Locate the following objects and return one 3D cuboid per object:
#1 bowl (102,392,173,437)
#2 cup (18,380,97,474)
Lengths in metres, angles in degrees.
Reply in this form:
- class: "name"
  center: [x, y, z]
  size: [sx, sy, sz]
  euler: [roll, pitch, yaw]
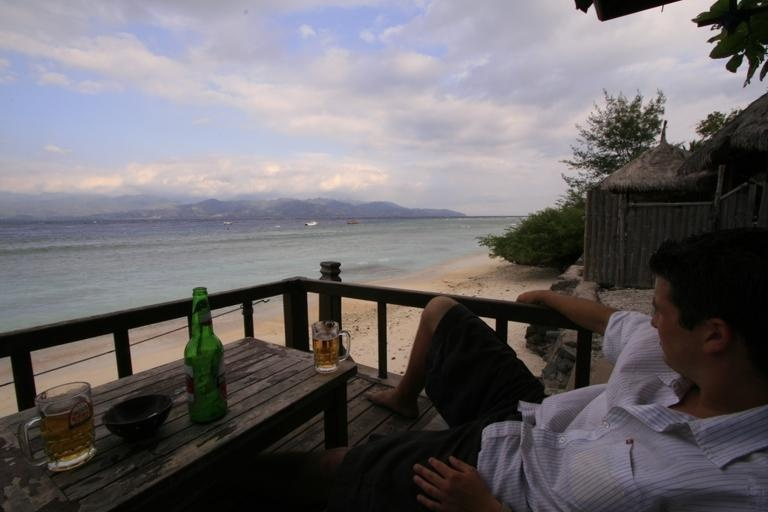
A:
- class: "bowl"
  center: [-1.162, 0.774, 2.118]
  size: [0.289, 0.103, 0.269]
  euler: [-7, 9, 1]
- class: "cup"
  center: [-1.481, 0.763, 2.021]
  size: [0.308, 0.362, 0.209]
  euler: [-3, 8, -13]
